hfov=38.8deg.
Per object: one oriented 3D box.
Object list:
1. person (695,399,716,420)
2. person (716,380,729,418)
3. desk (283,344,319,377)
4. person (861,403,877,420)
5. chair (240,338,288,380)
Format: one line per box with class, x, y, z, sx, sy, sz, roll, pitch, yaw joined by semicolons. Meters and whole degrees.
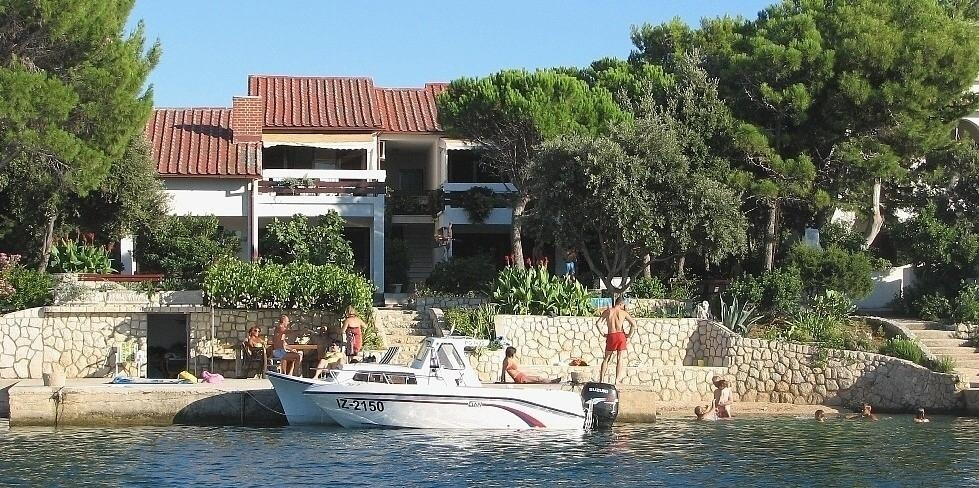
person;9.696;7.588;62.560;0.917;0.879;0.589;4;-18;2
person;10.531;6.973;62.427;0.671;1.663;0.442;0;-5;-2
desk;-8.591;5.295;63.096;1.440;1.356;1.432;0;3;5
person;17.223;7.606;63.090;0.627;0.618;1.370;-1;-5;15
chair;-10.323;5.259;62.999;1.995;2.690;1.666;-1;-2;-1
